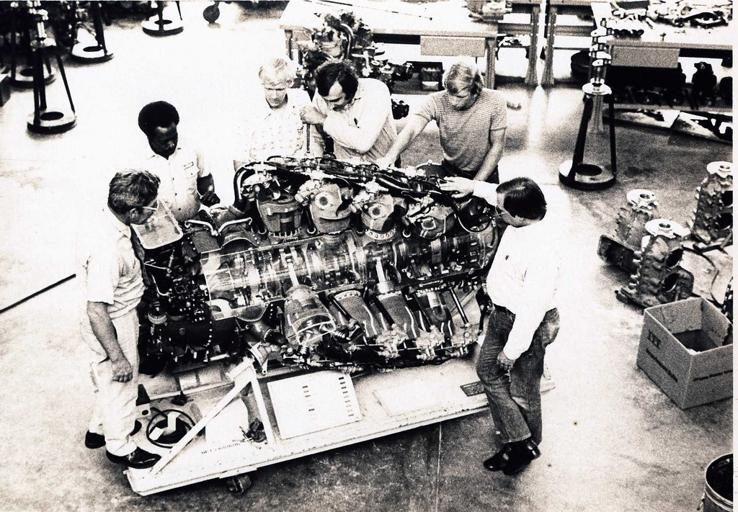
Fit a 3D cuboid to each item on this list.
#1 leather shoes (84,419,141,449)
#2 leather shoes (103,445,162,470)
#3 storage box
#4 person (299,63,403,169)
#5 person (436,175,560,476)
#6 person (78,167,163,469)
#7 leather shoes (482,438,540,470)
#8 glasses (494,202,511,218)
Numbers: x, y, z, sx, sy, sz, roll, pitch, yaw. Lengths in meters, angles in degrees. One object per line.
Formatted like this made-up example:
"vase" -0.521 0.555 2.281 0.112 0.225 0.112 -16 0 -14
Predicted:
"leather shoes" -1.886 1.316 4.624 0.376 0.149 0.136 -21 68 -10
"leather shoes" -1.733 1.490 4.629 0.393 0.129 0.160 3 63 -3
"storage box" 2.628 0.841 5.176 0.593 0.552 0.572 -17 42 -17
"person" -0.156 -1.272 5.457 0.835 0.897 0.765 -6 26 -8
"person" 1.135 0.470 4.694 0.567 2.119 1.068 6 27 17
"person" -1.793 0.507 4.564 0.680 2.492 1.029 -2 38 -25
"leather shoes" 1.094 1.502 4.720 0.253 0.181 0.101 -22 40 20
"glasses" 0.959 -0.334 4.448 0.033 0.121 0.117 -37 3 -2
